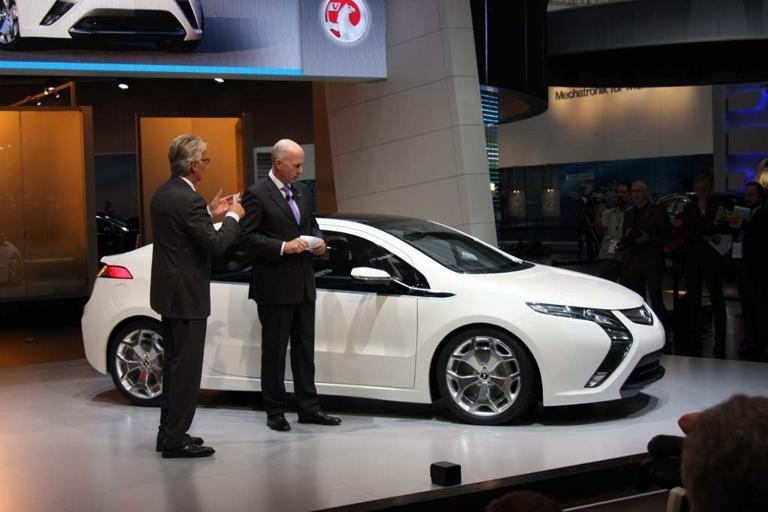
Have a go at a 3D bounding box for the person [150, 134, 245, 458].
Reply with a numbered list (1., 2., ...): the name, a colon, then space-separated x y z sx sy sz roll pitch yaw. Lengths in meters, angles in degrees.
1. person: -1.465 0.304 4.367 0.712 2.467 0.414 -2 3 -14

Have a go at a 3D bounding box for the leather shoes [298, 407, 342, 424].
1. leather shoes: -0.586 1.443 5.091 0.391 0.149 0.144 -1 2 12

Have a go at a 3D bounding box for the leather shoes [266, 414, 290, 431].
1. leather shoes: -0.905 1.447 4.917 0.096 0.090 0.209 -4 2 -40

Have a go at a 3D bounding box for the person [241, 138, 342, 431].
1. person: -0.859 0.256 4.943 0.717 2.491 0.437 -2 3 -14

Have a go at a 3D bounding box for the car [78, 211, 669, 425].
1. car: -0.078 0.692 5.674 4.578 1.605 2.268 -1 1 17

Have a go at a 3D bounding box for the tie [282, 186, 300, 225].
1. tie: -0.806 -0.458 4.983 0.078 0.509 0.119 -13 -8 -16
